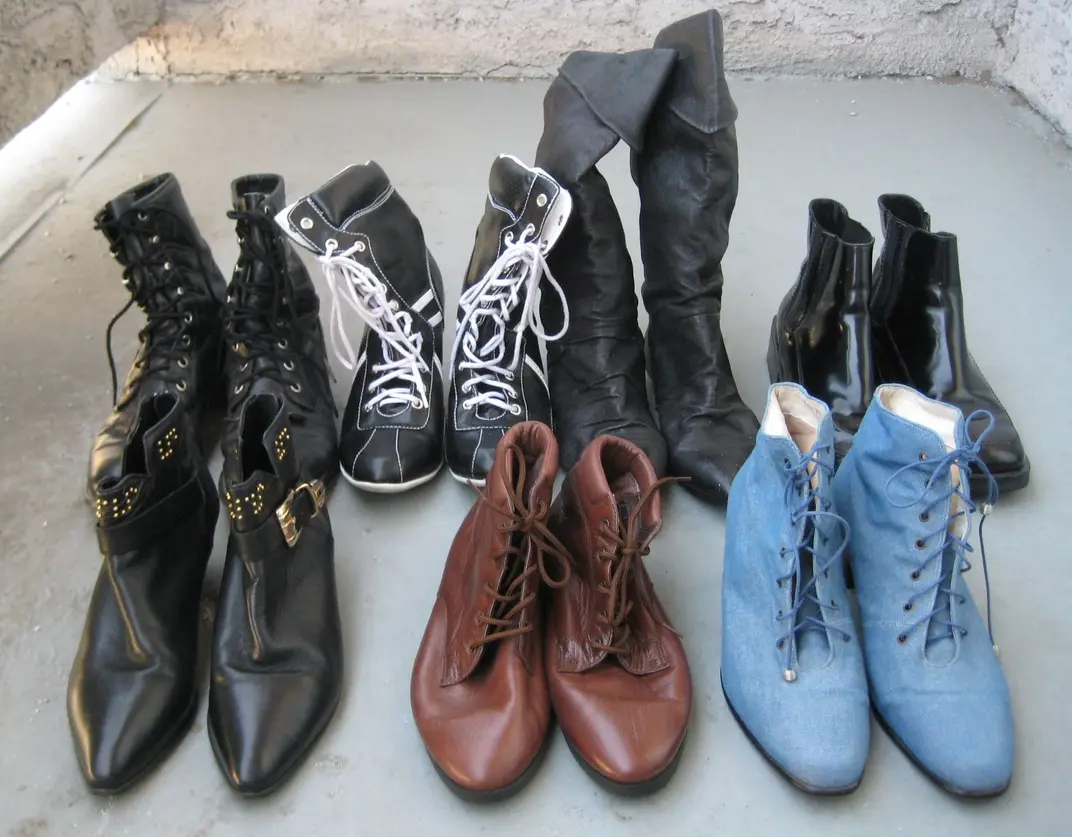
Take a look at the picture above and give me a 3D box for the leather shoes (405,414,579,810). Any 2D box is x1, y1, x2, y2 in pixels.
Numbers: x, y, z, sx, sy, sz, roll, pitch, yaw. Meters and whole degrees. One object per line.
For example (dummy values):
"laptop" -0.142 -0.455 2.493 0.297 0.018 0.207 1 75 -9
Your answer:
"leather shoes" -0.061 0.242 1.420 0.189 0.230 0.534 4 45 -5

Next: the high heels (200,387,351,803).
"high heels" -0.344 0.225 1.435 0.174 0.236 0.555 -4 59 -7

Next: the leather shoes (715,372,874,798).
"leather shoes" 0.304 0.213 1.438 0.176 0.264 0.580 -3 50 5
